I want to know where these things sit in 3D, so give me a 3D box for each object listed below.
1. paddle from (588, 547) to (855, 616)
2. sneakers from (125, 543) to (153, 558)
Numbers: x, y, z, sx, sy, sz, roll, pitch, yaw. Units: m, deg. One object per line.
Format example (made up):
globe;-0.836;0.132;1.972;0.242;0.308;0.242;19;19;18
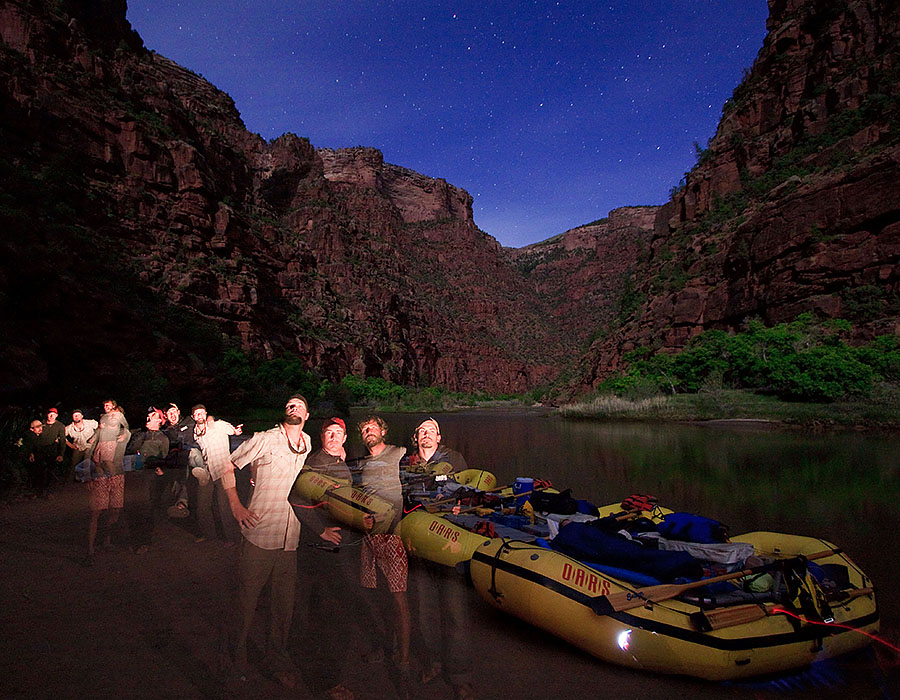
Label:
paddle;3.000;2.608;6.632;2.988;0.178;0.393;-5;31;-19
sneakers;-4.665;2.980;8.890;0.426;0.276;0.139;-7;-7;8
